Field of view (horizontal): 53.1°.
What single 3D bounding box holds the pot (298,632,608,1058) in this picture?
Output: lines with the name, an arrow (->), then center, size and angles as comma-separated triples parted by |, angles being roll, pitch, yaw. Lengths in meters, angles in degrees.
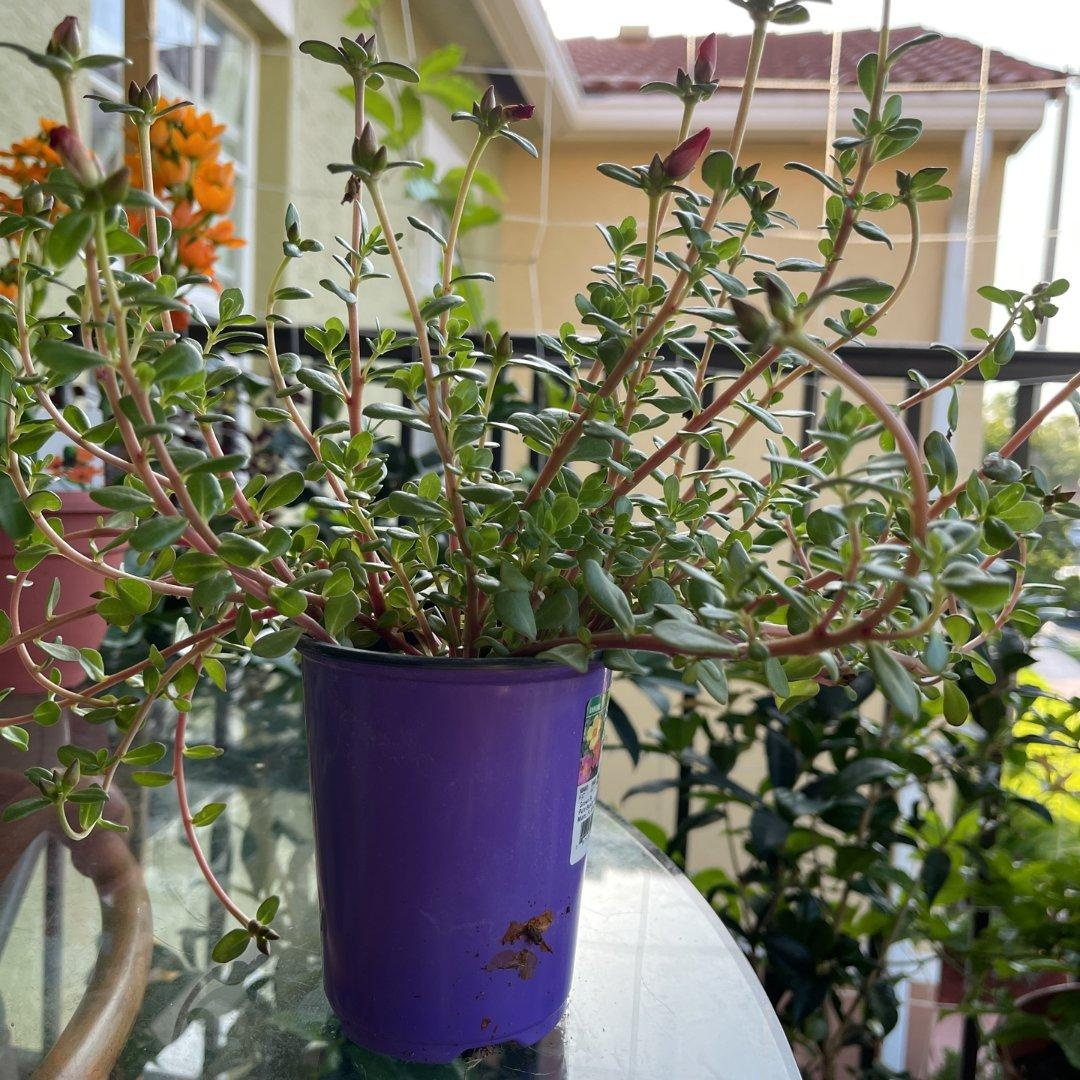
pot -> -0.048, 0.177, 0.711 | 0.221, 0.232, 0.211 | 3, 2, 0
